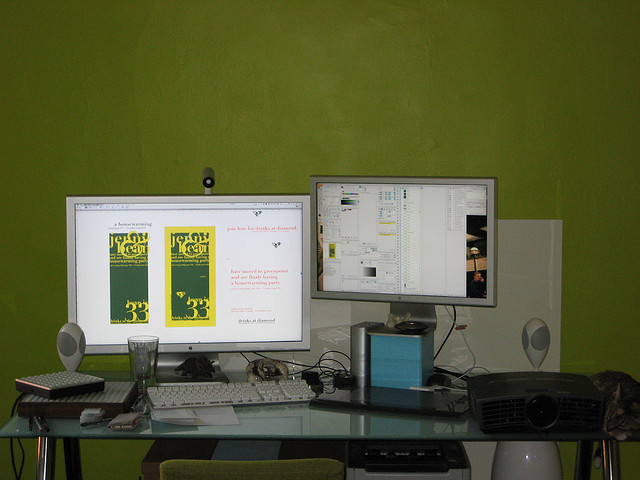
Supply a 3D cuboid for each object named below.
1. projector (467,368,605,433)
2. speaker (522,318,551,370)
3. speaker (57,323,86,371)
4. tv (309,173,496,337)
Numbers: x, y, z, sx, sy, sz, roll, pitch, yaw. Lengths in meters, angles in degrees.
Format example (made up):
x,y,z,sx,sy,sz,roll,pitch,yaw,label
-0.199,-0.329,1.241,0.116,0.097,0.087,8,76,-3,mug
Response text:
x,y,z,sx,sy,sz,roll,pitch,yaw,label
0.651,0.497,1.944,0.383,0.142,0.166,-3,-2,1,projector
0.756,0.368,2.227,0.122,0.187,0.122,-1,1,11,speaker
-0.862,0.368,2.201,0.089,0.168,0.106,-1,-3,-39,speaker
0.299,0.023,2.279,0.674,0.490,0.166,1,2,26,tv
